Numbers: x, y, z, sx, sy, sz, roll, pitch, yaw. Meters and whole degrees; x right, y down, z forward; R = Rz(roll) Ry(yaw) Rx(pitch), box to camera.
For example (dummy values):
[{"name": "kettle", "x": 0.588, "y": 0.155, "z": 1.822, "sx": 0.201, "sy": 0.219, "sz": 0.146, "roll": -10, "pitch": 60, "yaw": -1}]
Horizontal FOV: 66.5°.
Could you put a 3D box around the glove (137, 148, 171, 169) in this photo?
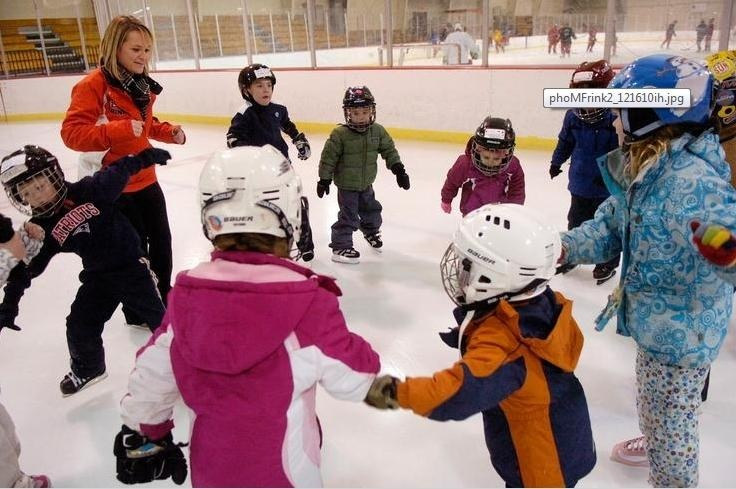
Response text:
[{"name": "glove", "x": -1.413, "y": -0.574, "z": 3.692, "sx": 0.193, "sy": 0.133, "sz": 0.293, "roll": -8, "pitch": 20, "yaw": -16}]

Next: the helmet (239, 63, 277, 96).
[{"name": "helmet", "x": -1.036, "y": -1.598, "z": 5.538, "sx": 0.294, "sy": 0.314, "sz": 0.353, "roll": -12, "pitch": 0, "yaw": -20}]

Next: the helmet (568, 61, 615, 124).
[{"name": "helmet", "x": 1.952, "y": -1.379, "z": 4.939, "sx": 0.421, "sy": 0.470, "sz": 0.520, "roll": 7, "pitch": 27, "yaw": 38}]

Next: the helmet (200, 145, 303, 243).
[{"name": "helmet", "x": -0.529, "y": -0.202, "z": 2.513, "sx": 0.493, "sy": 0.477, "sz": 0.529, "roll": -3, "pitch": 12, "yaw": 0}]

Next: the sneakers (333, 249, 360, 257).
[{"name": "sneakers", "x": -0.226, "y": 0.073, "z": 5.532, "sx": 0.233, "sy": 0.091, "sz": 0.088, "roll": 0, "pitch": 20, "yaw": 4}]

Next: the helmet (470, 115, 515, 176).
[{"name": "helmet", "x": 0.914, "y": -0.732, "z": 4.172, "sx": 0.357, "sy": 0.382, "sz": 0.397, "roll": 9, "pitch": 59, "yaw": 11}]

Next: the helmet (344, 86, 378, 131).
[{"name": "helmet", "x": -0.088, "y": -1.309, "z": 5.332, "sx": 0.346, "sy": 0.407, "sz": 0.417, "roll": -4, "pitch": 24, "yaw": 2}]

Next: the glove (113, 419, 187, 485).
[{"name": "glove", "x": -0.960, "y": 0.922, "z": 2.459, "sx": 0.295, "sy": 0.284, "sz": 0.141, "roll": -8, "pitch": 21, "yaw": -17}]

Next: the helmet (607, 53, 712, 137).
[{"name": "helmet", "x": 1.363, "y": -0.696, "z": 2.607, "sx": 0.487, "sy": 0.355, "sz": 0.337, "roll": -8, "pitch": 21, "yaw": 18}]

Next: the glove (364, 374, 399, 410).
[{"name": "glove", "x": 0.025, "y": 0.601, "z": 2.338, "sx": 0.061, "sy": 0.167, "sz": 0.135, "roll": -13, "pitch": 51, "yaw": 37}]

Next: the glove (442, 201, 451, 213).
[{"name": "glove", "x": 0.678, "y": -0.317, "z": 4.857, "sx": 0.088, "sy": 0.110, "sz": 0.053, "roll": -1, "pitch": 24, "yaw": 1}]

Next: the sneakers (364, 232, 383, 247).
[{"name": "sneakers", "x": 0.064, "y": -0.053, "z": 5.691, "sx": 0.089, "sy": 0.098, "sz": 0.255, "roll": -14, "pitch": 21, "yaw": -27}]

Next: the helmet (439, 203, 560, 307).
[{"name": "helmet", "x": 0.642, "y": 0.057, "z": 2.626, "sx": 0.570, "sy": 0.463, "sz": 0.446, "roll": 12, "pitch": 23, "yaw": 22}]
